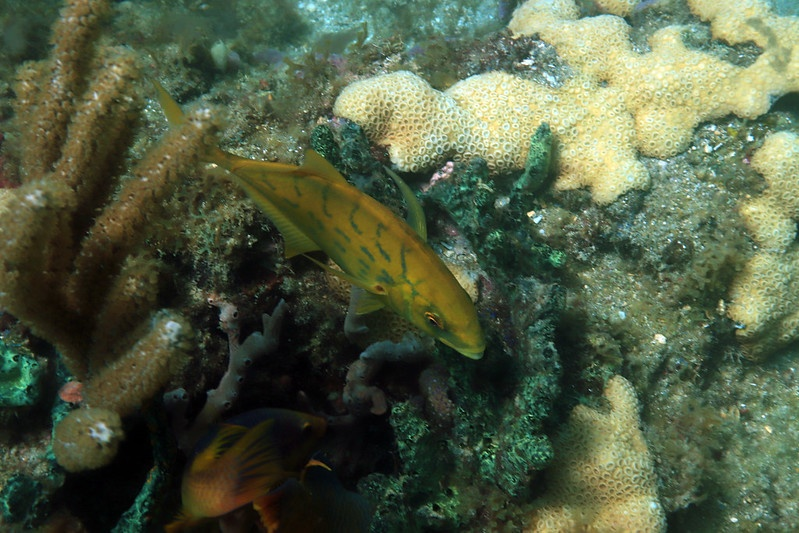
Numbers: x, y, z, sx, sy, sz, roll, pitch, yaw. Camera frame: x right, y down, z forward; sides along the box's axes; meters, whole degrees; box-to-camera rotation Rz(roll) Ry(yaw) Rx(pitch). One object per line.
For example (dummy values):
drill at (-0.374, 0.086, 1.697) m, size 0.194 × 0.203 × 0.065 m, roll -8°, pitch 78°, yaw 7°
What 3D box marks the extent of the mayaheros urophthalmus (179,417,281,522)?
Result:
mayaheros urophthalmus at (-1.414, 1.673, 7.155) m, size 0.842 × 0.248 × 0.643 m, roll -14°, pitch 67°, yaw -8°
